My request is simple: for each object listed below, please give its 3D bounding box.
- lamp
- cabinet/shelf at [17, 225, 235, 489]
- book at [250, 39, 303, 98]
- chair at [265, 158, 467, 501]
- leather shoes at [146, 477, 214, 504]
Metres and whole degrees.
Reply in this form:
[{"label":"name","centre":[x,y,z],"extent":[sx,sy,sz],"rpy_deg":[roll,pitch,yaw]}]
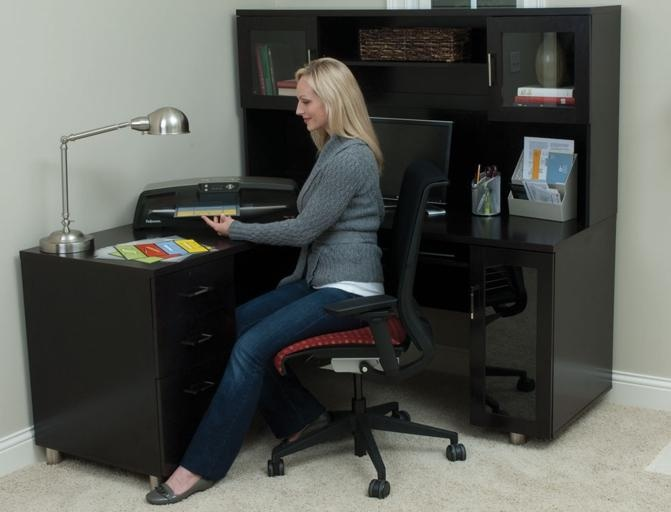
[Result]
[{"label":"lamp","centre":[-0.885,-0.315,2.432],"extent":[0.597,0.559,0.214],"rpy_deg":[-6,13,-30]},{"label":"cabinet/shelf","centre":[-0.793,0.422,2.739],"extent":[0.716,0.831,0.958],"rpy_deg":[5,8,28]},{"label":"book","centre":[-0.351,-0.980,3.136],"extent":[0.278,0.252,0.066],"rpy_deg":[5,11,17]},{"label":"chair","centre":[0.181,0.172,3.006],"extent":[1.164,1.695,1.205],"rpy_deg":[1,9,-1]},{"label":"leather shoes","centre":[-0.606,0.874,2.324],"extent":[0.233,0.081,0.089],"rpy_deg":[-2,7,-28]}]
